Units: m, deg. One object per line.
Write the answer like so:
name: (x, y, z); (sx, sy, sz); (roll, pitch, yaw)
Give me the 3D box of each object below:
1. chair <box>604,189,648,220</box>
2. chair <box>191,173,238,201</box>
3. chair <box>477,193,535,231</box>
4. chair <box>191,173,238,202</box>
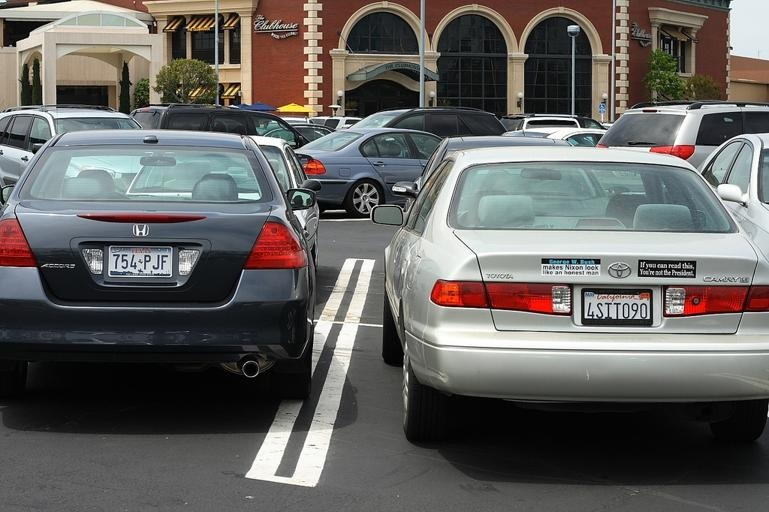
chair: (1.681, -0.349, 4.594); (0.195, 0.126, 0.301); (1, 6, 1)
chair: (-1.274, -0.512, 5.032); (0.228, 0.095, 0.286); (3, 15, -4)
chair: (0.816, -0.289, 4.416); (0.360, 0.208, 0.245); (0, 4, 1)
chair: (-1.273, -0.514, 5.028); (0.230, 0.096, 0.288); (3, 15, -4)
